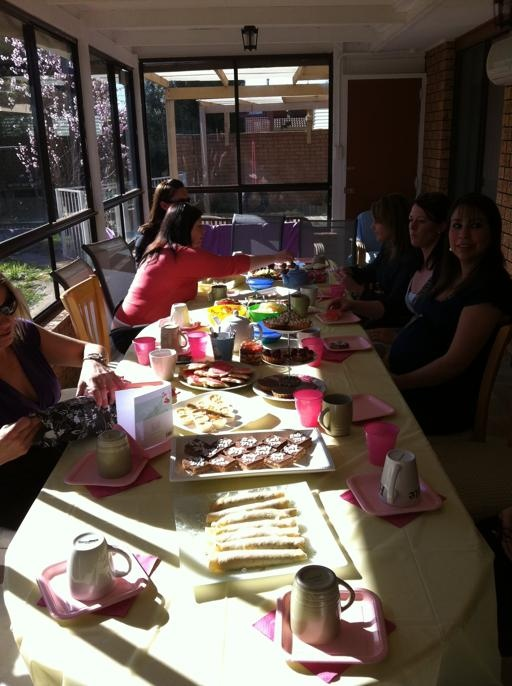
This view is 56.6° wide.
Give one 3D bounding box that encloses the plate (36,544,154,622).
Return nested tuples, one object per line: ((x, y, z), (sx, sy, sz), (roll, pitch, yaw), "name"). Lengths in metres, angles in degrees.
((-0.239, 0.327, 0.708), (0.103, 0.094, 0.096), (6, 21, 18), "plate")

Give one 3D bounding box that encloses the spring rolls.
((0.006, 0.303, 0.824), (0.163, 0.059, 0.153), (3, 14, -1), "spring rolls")

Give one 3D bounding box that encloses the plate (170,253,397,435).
((0.132, 0.041, 1.516), (0.458, 0.317, 0.731), (2, 14, -2), "plate")

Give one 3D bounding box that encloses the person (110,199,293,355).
((-0.545, -0.667, 3.150), (1.056, 1.376, 0.681), (-7, 39, -17), "person")

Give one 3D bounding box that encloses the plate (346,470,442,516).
((0.269, 0.281, 0.952), (0.143, 0.040, 0.139), (0, 12, -10), "plate")

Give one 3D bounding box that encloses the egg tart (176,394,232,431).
((-0.146, 0.191, 1.340), (0.146, 0.064, 0.140), (-2, 16, -6), "egg tart")

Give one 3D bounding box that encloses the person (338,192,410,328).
((0.860, -0.510, 3.140), (0.512, 0.971, 0.522), (2, 17, 0), "person")

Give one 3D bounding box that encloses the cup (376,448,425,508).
((0.265, 0.253, 0.922), (0.081, 0.093, 0.084), (4, 18, -1), "cup")

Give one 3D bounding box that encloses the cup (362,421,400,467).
((0.276, 0.222, 1.100), (0.077, 0.091, 0.083), (4, 16, -1), "cup")

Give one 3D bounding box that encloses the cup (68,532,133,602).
((-0.224, 0.317, 0.698), (0.101, 0.078, 0.061), (3, 16, -13), "cup")

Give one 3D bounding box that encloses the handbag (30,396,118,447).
((-0.468, 0.199, 1.221), (0.174, 0.103, 0.078), (-26, -5, -28), "handbag")

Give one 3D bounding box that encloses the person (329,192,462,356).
((0.809, -0.448, 2.719), (0.488, 1.318, 0.500), (-3, 10, -17), "person")

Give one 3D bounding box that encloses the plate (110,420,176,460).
((-0.281, 0.237, 1.215), (0.133, 0.071, 0.122), (6, 15, 14), "plate")
